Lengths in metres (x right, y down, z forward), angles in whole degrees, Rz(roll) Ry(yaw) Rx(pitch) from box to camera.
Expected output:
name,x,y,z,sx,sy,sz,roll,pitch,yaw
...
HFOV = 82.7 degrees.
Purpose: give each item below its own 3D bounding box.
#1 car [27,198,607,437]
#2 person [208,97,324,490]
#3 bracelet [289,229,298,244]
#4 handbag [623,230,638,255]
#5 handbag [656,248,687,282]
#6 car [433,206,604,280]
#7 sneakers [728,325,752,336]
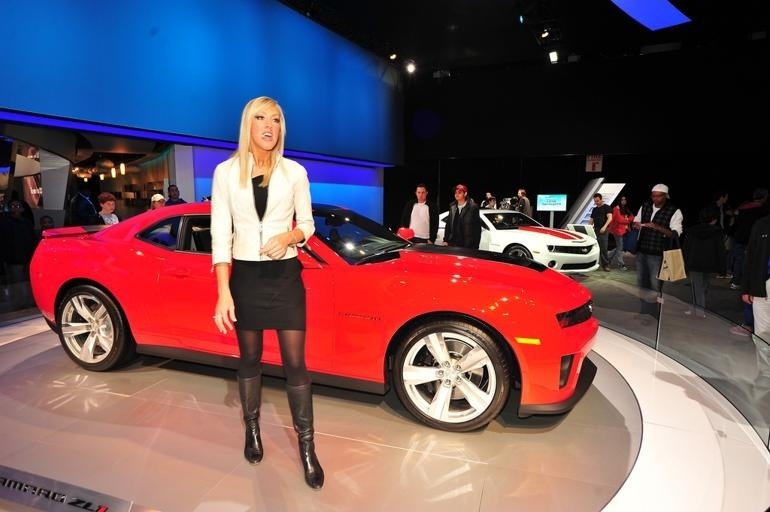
name,x,y,z,sx,sy,sz,roll,pitch,yaw
car,-0.809,0.607,4.712,5.190,1.634,2.325,2,5,16
person,-0.888,0.264,3.402,0.936,2.880,0.559,5,14,17
bracelet,-0.674,-0.142,3.240,0.090,0.083,0.089,-3,4,-8
handbag,3.713,-0.197,6.598,0.319,0.324,0.116,7,-4,31
handbag,3.984,0.130,6.113,0.415,0.486,0.282,-3,17,0
car,2.843,-0.287,9.208,2.883,0.856,1.651,4,8,33
sneakers,3.545,0.745,4.301,0.233,0.101,0.085,6,9,18
